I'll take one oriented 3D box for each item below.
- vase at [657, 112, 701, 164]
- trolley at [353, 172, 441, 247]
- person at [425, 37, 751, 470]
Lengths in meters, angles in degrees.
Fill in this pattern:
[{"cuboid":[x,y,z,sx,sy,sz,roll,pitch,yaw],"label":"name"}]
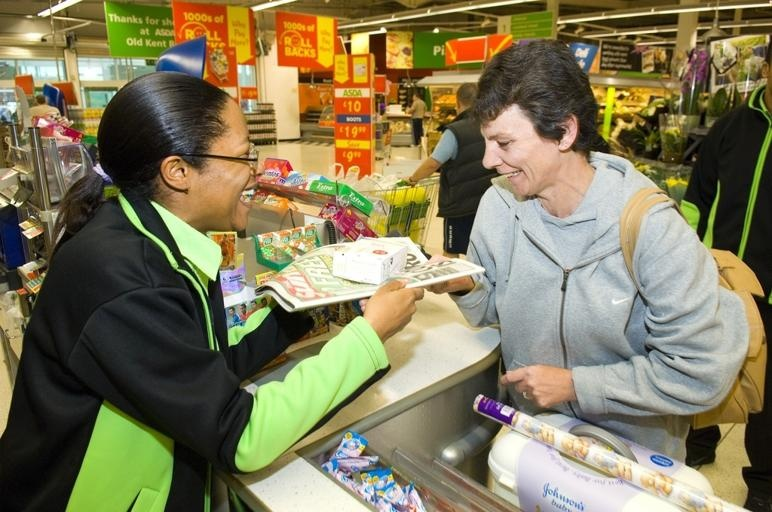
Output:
[{"cuboid":[2.191,-0.858,3.639,0.306,0.382,0.326,0,2,44],"label":"vase"},{"cuboid":[0.098,-0.269,3.033,0.372,0.496,0.582,-13,34,-28],"label":"trolley"},{"cuboid":[0.731,-0.076,1.743,1.012,1.347,0.484,11,22,38],"label":"person"}]
